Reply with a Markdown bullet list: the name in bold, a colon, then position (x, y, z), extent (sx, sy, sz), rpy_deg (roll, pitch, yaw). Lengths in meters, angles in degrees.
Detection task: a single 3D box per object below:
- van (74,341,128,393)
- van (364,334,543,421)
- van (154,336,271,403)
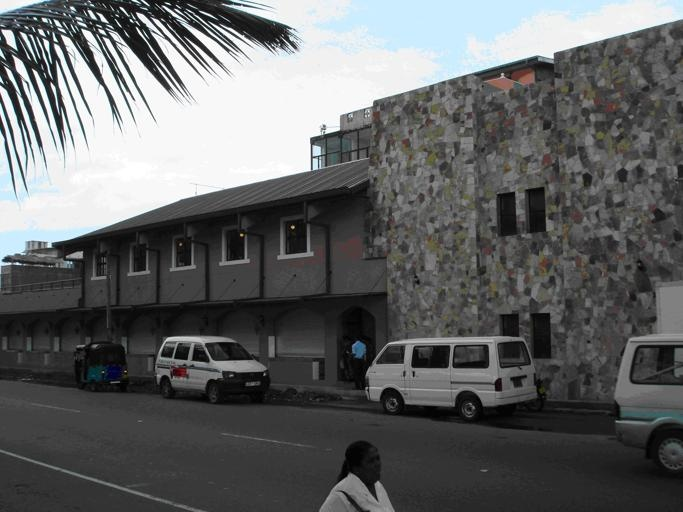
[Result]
- **van**: position (-9.912, 4.509, 29.520), extent (1.511, 1.746, 2.454), rpy_deg (5, -7, -34)
- **van**: position (3.064, 3.375, 20.039), extent (3.994, 1.893, 2.189), rpy_deg (-5, -10, 40)
- **van**: position (-4.483, 3.891, 25.027), extent (2.033, 1.897, 3.805), rpy_deg (10, -16, -43)
